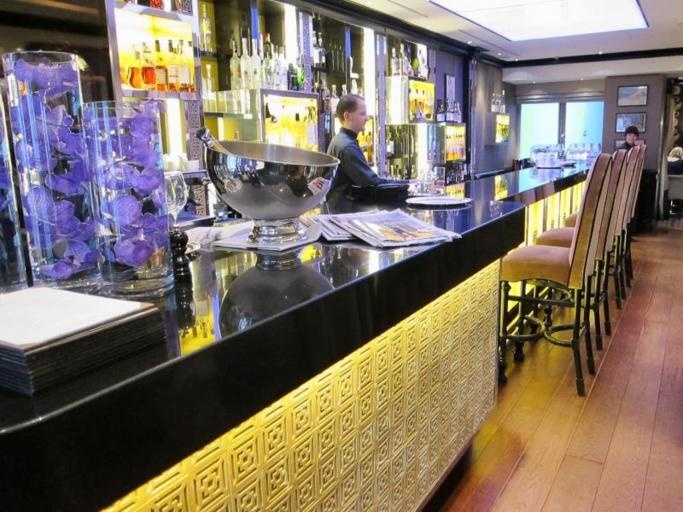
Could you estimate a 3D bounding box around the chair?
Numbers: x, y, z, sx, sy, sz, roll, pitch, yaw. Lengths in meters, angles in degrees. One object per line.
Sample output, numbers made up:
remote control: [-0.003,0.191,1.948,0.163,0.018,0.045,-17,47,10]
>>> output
chair: [1.746,0.154,3.681,0.643,1.620,1.817,5,13,28]

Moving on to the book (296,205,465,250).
book: [0.125,-0.106,1.802,0.432,0.069,0.523,-12,18,-37]
